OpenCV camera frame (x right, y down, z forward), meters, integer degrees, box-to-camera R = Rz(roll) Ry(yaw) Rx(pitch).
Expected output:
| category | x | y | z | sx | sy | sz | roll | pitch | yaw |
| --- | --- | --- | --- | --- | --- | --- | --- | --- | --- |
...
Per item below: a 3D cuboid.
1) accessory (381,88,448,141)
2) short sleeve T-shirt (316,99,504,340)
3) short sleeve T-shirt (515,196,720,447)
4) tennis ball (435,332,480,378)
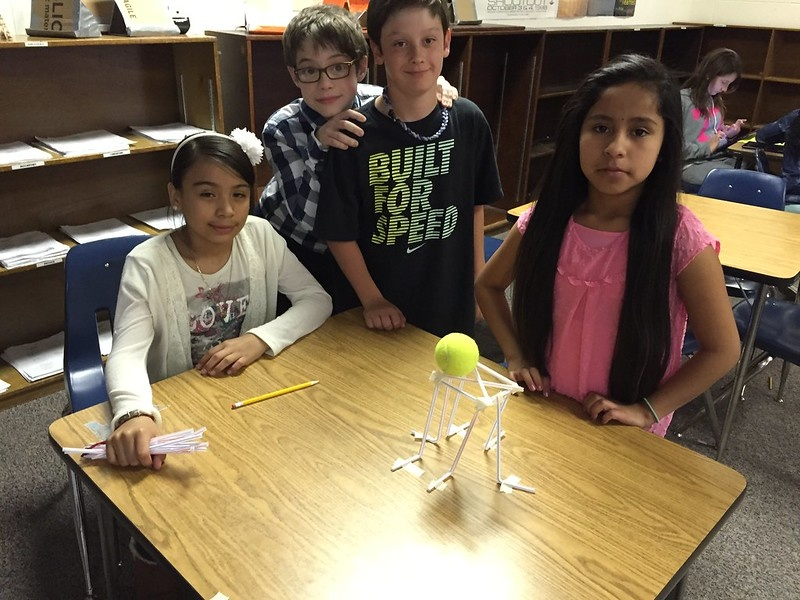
| category | x | y | z | sx | sy | sz | roll | pitch | yaw |
| --- | --- | --- | --- | --- | --- | --- | --- | --- | --- |
| accessory | 0.051 | -0.569 | 1.641 | 0.208 | 0.142 | 0.108 | -1 | 25 | 0 |
| short sleeve T-shirt | 0.015 | -0.258 | 1.667 | 0.573 | 0.724 | 0.290 | -17 | 31 | -21 |
| short sleeve T-shirt | 0.540 | 0.001 | 1.477 | 0.463 | 0.557 | 0.287 | 10 | 21 | 27 |
| tennis ball | 0.112 | 0.099 | 1.037 | 0.090 | 0.096 | 0.094 | -2 | 26 | 1 |
